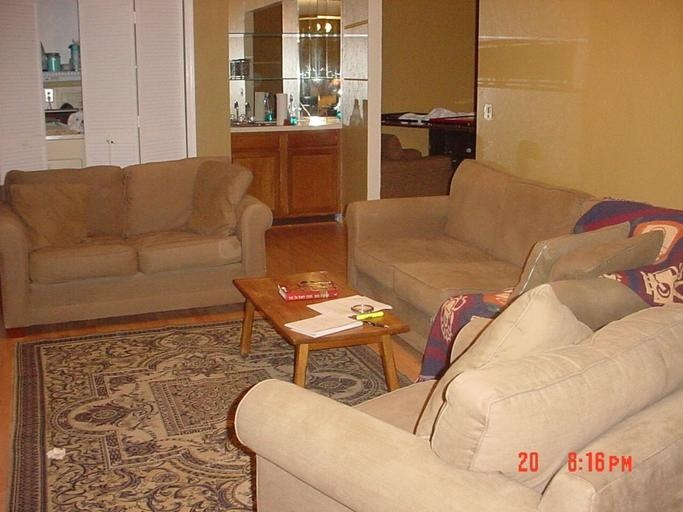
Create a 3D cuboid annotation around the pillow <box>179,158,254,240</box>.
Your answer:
[{"bbox_3d":[-0.846,-0.438,4.210,0.646,0.532,0.192,7,-5,37],"label":"pillow"}]

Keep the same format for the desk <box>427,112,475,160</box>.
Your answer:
[{"bbox_3d":[1.212,-1.319,6.209,0.491,0.532,1.582,1,14,9],"label":"desk"}]

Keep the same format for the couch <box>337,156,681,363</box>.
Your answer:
[{"bbox_3d":[0.898,-0.255,3.469,1.276,0.983,2.208,-6,16,-25],"label":"couch"}]

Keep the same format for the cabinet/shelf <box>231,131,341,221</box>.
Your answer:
[{"bbox_3d":[-0.649,-0.928,6.093,1.433,1.006,0.476,-4,12,-19],"label":"cabinet/shelf"}]

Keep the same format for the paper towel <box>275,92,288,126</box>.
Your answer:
[{"bbox_3d":[-0.754,-1.833,6.882,0.162,0.383,0.375,-3,16,-6],"label":"paper towel"}]

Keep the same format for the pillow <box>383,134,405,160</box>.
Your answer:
[{"bbox_3d":[0.559,-1.229,6.242,0.239,0.274,0.200,1,16,9],"label":"pillow"}]

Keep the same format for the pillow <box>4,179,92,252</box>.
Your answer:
[{"bbox_3d":[-2.017,-0.295,3.864,0.499,0.403,0.396,-8,17,-22],"label":"pillow"}]

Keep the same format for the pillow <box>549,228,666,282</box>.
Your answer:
[{"bbox_3d":[1.048,0.005,2.175,0.310,0.078,0.277,-11,15,17],"label":"pillow"}]

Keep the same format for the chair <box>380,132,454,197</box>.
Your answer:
[{"bbox_3d":[0.714,-1.106,6.734,1.299,0.629,1.160,0,17,6],"label":"chair"}]

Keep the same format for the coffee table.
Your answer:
[{"bbox_3d":[-0.187,0.443,3.075,0.600,0.422,1.029,-8,17,-25],"label":"coffee table"}]
